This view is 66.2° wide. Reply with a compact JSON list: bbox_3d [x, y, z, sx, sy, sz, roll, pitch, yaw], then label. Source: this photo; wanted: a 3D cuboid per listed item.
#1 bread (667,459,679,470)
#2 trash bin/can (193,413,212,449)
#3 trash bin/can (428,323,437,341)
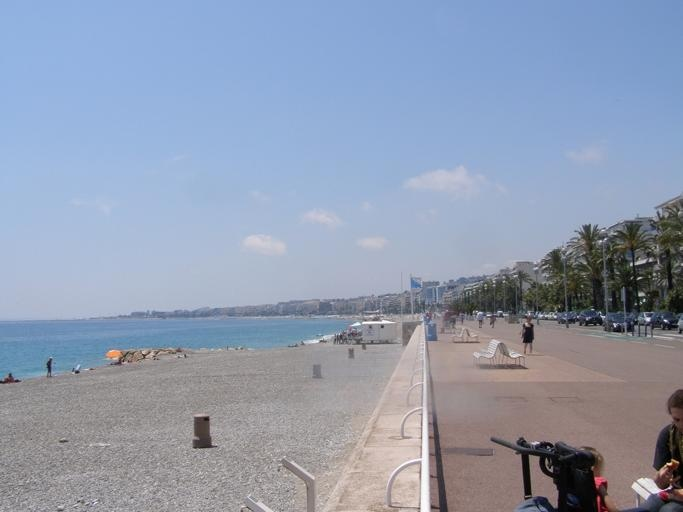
[{"bbox_3d":[2.878,1.796,4.559,0.109,0.041,0.107,-1,-2,24],"label":"bread"},{"bbox_3d":[-3.192,3.982,12.002,0.413,0.667,0.607,-1,-6,-16],"label":"trash bin/can"},{"bbox_3d":[7.028,5.902,41.157,0.668,1.179,0.750,-2,-5,0],"label":"trash bin/can"}]
